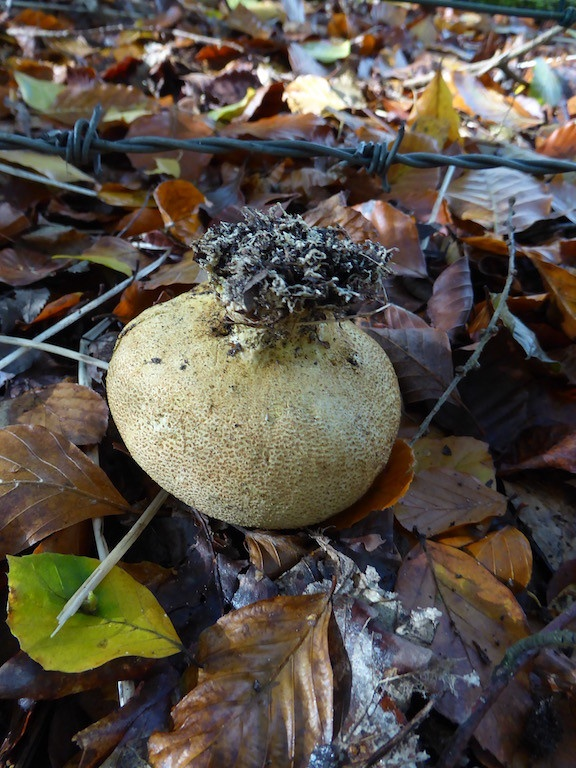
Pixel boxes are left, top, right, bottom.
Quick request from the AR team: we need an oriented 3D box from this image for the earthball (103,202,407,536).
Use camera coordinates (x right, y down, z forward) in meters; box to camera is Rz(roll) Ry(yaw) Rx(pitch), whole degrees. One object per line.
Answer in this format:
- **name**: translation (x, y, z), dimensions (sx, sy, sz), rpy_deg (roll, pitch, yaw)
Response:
- **earthball**: translation (-0.058, -0.002, 1.421), dimensions (0.519, 0.484, 0.536), rpy_deg (-32, 55, -34)
